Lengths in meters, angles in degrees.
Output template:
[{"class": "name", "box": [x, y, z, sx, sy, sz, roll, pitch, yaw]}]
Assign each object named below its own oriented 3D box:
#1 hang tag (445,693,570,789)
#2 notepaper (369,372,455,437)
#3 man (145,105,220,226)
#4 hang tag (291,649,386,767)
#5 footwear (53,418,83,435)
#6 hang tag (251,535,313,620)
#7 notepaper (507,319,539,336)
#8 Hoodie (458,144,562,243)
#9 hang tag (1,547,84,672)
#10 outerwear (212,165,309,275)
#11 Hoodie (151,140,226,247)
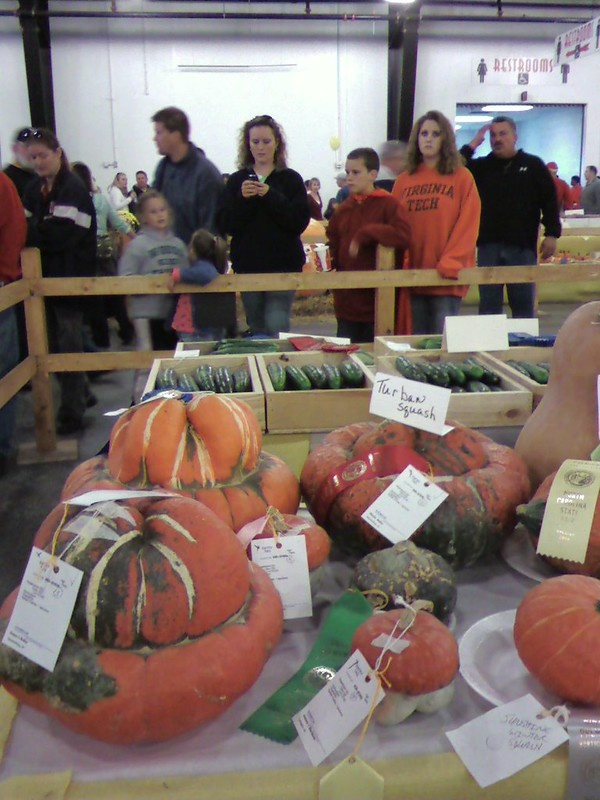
[{"class": "hang tag", "box": [0.218, 0.356, 0.667, 0.106, 0.048, 0.069, -8, 17, -16]}, {"class": "notepaper", "box": [0.200, 0.009, 1.145, 0.152, 0.086, 0.053, 17, 30, 25]}, {"class": "man", "box": [-0.671, -1.293, 3.593, 0.430, 0.745, 0.407, -2, 17, 5]}, {"class": "hang tag", "box": [0.042, 0.331, 0.671, 0.013, 0.123, 0.064, 31, 14, -46]}, {"class": "footwear", "box": [-1.558, 0.163, 4.247, 0.124, 0.042, 0.121, -8, 8, -41]}, {"class": "hang tag", "box": [-0.030, 0.237, 0.872, 0.085, 0.002, 0.107, -6, 45, 6]}, {"class": "notepaper", "box": [0.990, -0.326, 2.819, 0.119, 0.077, 0.062, 2, 18, 8]}, {"class": "Hoodie", "box": [1.419, -1.431, 4.389, 0.722, 0.614, 0.271, 7, 22, 22]}, {"class": "hang tag", "box": [-0.256, 0.209, 0.661, 0.086, 0.116, 0.027, 22, 6, 13]}, {"class": "outerwear", "box": [-0.202, -1.021, 3.637, 0.516, 0.566, 0.366, 1, 20, 8]}, {"class": "Hoodie", "box": [-0.668, -1.211, 3.686, 0.386, 0.513, 0.194, 23, 41, 40]}]
